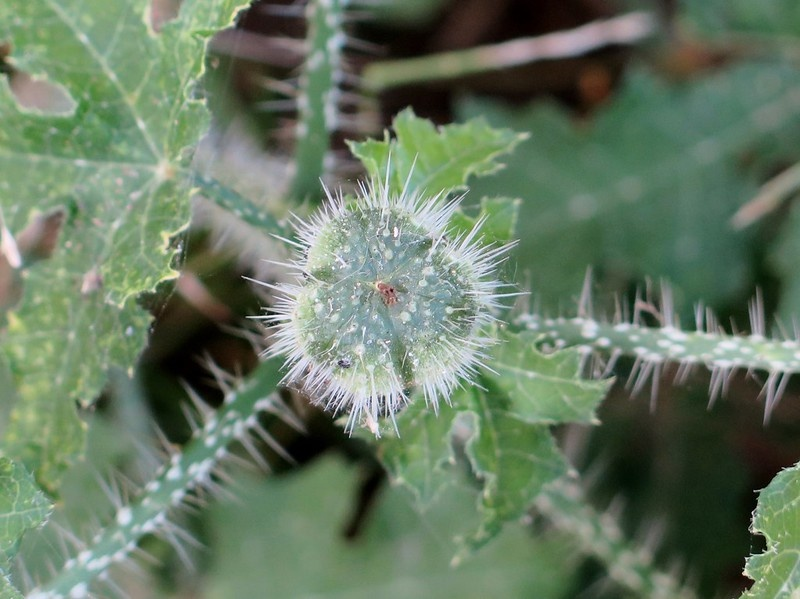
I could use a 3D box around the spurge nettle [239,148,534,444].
[{"bbox_3d":[-0.025,0.010,1.689,0.498,0.563,0.576,43,85,6],"label":"spurge nettle"}]
